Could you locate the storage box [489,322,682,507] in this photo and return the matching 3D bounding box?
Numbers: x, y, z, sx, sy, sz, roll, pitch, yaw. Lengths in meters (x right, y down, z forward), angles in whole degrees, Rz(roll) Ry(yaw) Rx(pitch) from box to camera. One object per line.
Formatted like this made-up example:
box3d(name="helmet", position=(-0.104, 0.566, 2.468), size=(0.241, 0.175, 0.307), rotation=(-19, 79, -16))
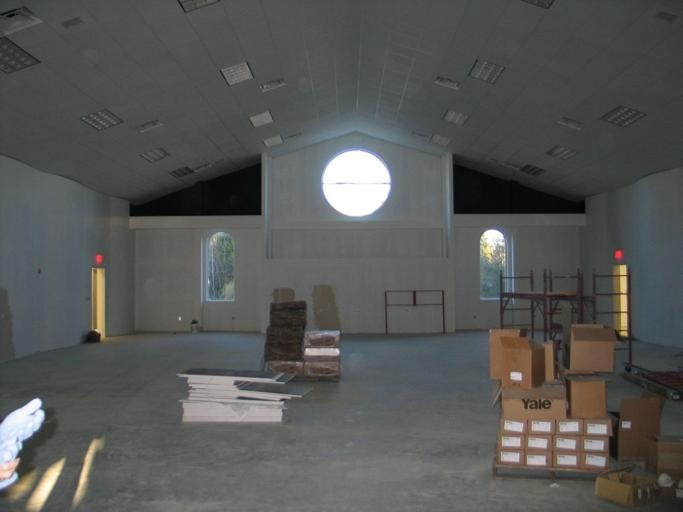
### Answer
box3d(name="storage box", position=(2.830, 1.763, 6.263), size=(1.690, 1.928, 1.739), rotation=(0, 2, 8))
